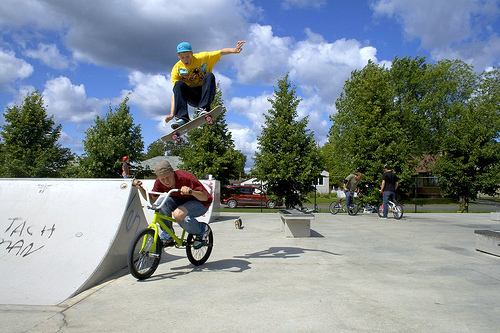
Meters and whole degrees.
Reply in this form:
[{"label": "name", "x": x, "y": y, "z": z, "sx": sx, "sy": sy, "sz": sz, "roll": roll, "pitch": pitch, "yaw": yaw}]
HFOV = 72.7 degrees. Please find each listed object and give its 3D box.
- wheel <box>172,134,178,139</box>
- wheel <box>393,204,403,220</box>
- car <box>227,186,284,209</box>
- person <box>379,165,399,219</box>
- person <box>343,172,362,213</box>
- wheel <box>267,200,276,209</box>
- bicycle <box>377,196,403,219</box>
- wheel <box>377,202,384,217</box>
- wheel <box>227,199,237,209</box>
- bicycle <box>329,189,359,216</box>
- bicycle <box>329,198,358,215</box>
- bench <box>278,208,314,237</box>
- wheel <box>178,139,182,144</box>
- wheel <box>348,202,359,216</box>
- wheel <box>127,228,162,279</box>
[{"label": "wheel", "x": -1.728, "y": -0.696, "z": 7.831, "sx": 0.124, "sy": 0.100, "sz": 0.134, "roll": 0, "pitch": 4, "yaw": 0}, {"label": "wheel", "x": 6.331, "y": 1.938, "z": 14.527, "sx": 0.296, "sy": 0.622, "sz": 0.486, "roll": 0, "pitch": 4, "yaw": 0}, {"label": "car", "x": 0.056, "y": 2.671, "z": 28.391, "sx": 3.766, "sy": 1.488, "sz": 2.176, "roll": -2, "pitch": -6, "yaw": 2}, {"label": "person", "x": 6.019, "y": 1.124, "z": 14.764, "sx": 0.954, "sy": 2.341, "sz": 0.639, "roll": -2, "pitch": 6, "yaw": -31}, {"label": "person", "x": 5.140, "y": 1.385, "z": 17.179, "sx": 0.730, "sy": 2.149, "sz": 1.484, "roll": 2, "pitch": 5, "yaw": 19}, {"label": "wheel", "x": 1.659, "y": 3.047, "z": 27.109, "sx": 0.890, "sy": 0.895, "sz": 0.296, "roll": 3, "pitch": -4, "yaw": 2}, {"label": "bicycle", "x": 6.174, "y": 1.880, "z": 15.001, "sx": 0.643, "sy": 0.770, "sz": 1.228, "roll": 0, "pitch": -1, "yaw": -30}, {"label": "wheel", "x": 5.765, "y": 1.908, "z": 15.055, "sx": 0.133, "sy": 0.549, "sz": 0.547, "roll": 5, "pitch": -1, "yaw": 32}, {"label": "wheel", "x": -1.504, "y": 3.187, "z": 28.909, "sx": 0.663, "sy": 0.671, "sz": 0.253, "roll": 6, "pitch": 3, "yaw": 7}, {"label": "bicycle", "x": 4.650, "y": 1.979, "z": 17.329, "sx": 1.688, "sy": 1.087, "sz": 0.840, "roll": -3, "pitch": -6, "yaw": 25}, {"label": "bicycle", "x": 4.760, "y": 2.123, "z": 17.356, "sx": 1.212, "sy": 0.785, "sz": 0.623, "roll": 0, "pitch": -4, "yaw": 21}, {"label": "bench", "x": 1.347, "y": 1.691, "z": 9.820, "sx": 0.840, "sy": 0.666, "sz": 0.663, "roll": 0, "pitch": 4, "yaw": -4}, {"label": "wheel", "x": -1.702, "y": -0.621, "z": 8.132, "sx": 0.167, "sy": 0.042, "sz": 0.176, "roll": 0, "pitch": 3, "yaw": 0}, {"label": "wheel", "x": 5.185, "y": 2.124, "z": 17.110, "sx": 0.480, "sy": 0.738, "sz": 2.378, "roll": 2, "pitch": 4, "yaw": 16}, {"label": "wheel", "x": -1.930, "y": 1.606, "z": 6.204, "sx": 0.521, "sy": 0.914, "sz": 1.566, "roll": 0, "pitch": -3, "yaw": 0}]
